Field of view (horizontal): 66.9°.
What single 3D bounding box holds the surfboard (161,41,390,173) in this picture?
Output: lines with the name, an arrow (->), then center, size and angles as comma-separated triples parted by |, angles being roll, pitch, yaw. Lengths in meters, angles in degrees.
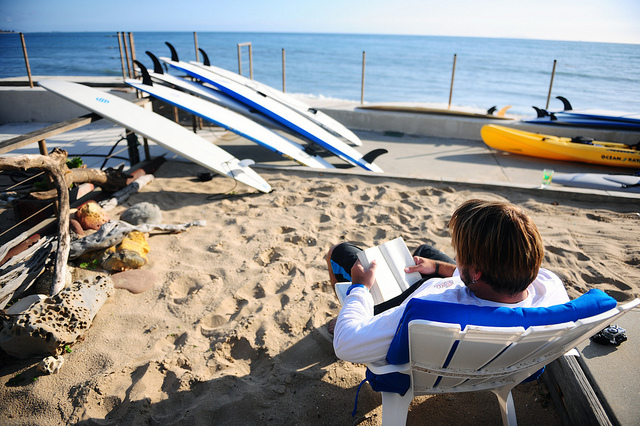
surfboard -> -0.911, -1.921, 8.577 | 4.740, 0.631, 0.759 | 27, 10, 8

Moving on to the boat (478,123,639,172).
boat -> 4.275, -1.197, 8.882 | 2.947, 0.495, 0.880 | 15, 27, 20

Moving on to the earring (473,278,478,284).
earring -> 1.049, 0.462, 3.281 | 0.091, 0.019, 0.020 | 12, -2, -25

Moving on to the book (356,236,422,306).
book -> 0.577, 0.482, 3.927 | 0.591, 0.503, 0.198 | -22, -1, -25

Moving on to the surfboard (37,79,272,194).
surfboard -> -2.375, -1.143, 7.409 | 4.596, 0.566, 0.807 | 25, 30, -2

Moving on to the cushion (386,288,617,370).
cushion -> 1.224, 0.821, 3.316 | 1.465, 0.640, 0.179 | 2, 21, -6

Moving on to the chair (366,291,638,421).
chair -> 1.176, 0.951, 3.933 | 1.312, 1.346, 1.362 | -3, 23, -7
